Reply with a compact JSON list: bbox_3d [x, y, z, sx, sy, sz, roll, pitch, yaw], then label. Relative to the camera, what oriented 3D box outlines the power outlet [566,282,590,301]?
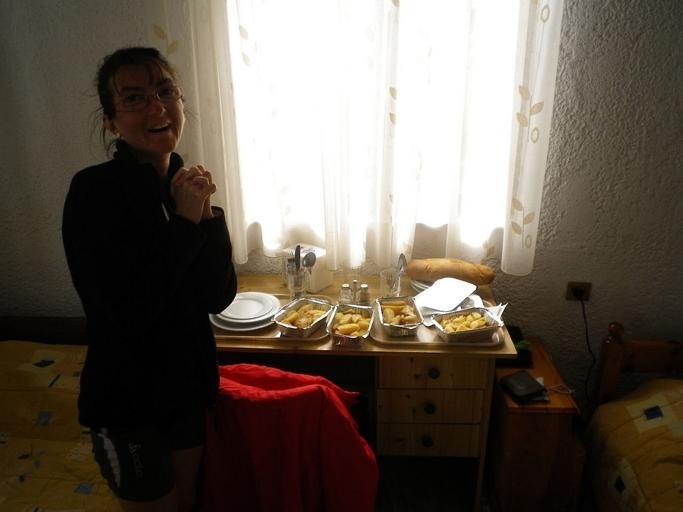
[{"bbox_3d":[1.116,0.163,2.297,0.072,0.074,0.038,2,24,7],"label":"power outlet"}]

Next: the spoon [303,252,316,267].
[{"bbox_3d":[-0.135,0.019,2.129,0.085,0.071,0.020,-12,16,-39],"label":"spoon"}]

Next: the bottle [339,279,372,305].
[{"bbox_3d":[0.058,0.160,2.088,0.089,0.108,0.040,1,26,6],"label":"bottle"}]

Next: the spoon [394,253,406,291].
[{"bbox_3d":[0.258,0.070,2.113,0.046,0.189,0.043,12,9,28],"label":"spoon"}]

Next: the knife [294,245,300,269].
[{"bbox_3d":[-0.178,0.007,2.017,0.014,0.118,0.013,2,15,0],"label":"knife"}]
